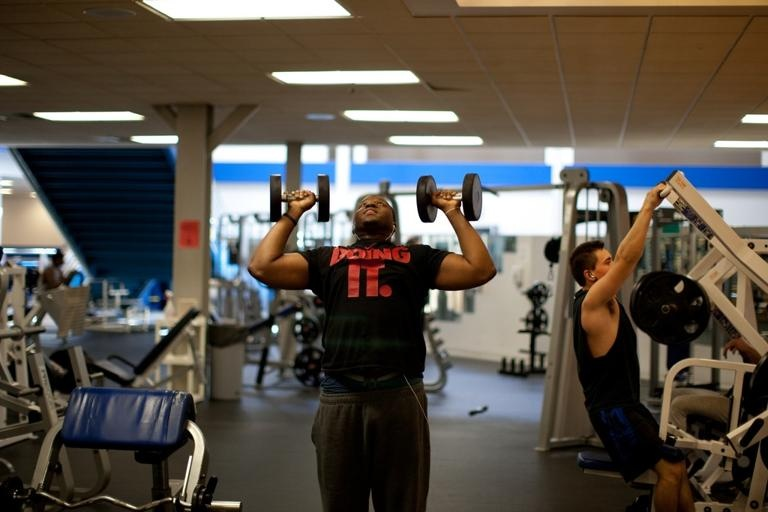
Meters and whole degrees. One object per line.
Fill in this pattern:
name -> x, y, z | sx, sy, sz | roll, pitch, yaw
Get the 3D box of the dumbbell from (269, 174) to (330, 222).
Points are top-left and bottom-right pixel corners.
dumbbell -> -0.480, -0.332, 3.883 | 0.336, 0.281, 0.241 | 0, -2, -6

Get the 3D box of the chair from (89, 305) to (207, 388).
chair -> -2.533, 0.995, 7.103 | 1.115, 0.851, 0.582 | -1, 2, -20

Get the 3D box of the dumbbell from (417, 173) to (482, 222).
dumbbell -> 0.374, -0.307, 3.801 | 0.384, 0.280, 0.260 | 0, -6, 15

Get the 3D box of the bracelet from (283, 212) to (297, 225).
bracelet -> -0.530, -0.204, 3.768 | 0.070, 0.051, 0.070 | 2, -1, 9
